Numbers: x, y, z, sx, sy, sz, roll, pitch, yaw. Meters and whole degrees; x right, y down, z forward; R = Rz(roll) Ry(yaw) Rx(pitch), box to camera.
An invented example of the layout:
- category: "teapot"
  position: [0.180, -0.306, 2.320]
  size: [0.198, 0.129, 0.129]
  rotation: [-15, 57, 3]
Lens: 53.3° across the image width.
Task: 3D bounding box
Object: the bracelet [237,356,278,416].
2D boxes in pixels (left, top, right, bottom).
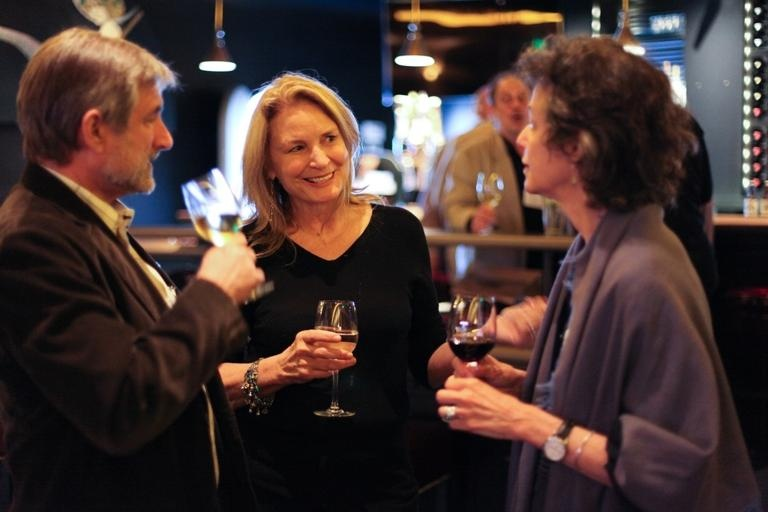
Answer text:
- category: "bracelet"
  position: [-0.502, 0.527, 3.115]
  size: [0.140, 0.092, 0.183]
  rotation: [-13, 23, -15]

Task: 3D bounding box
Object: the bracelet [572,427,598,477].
- category: "bracelet"
  position: [0.664, 0.644, 2.536]
  size: [0.063, 0.120, 0.032]
  rotation: [-9, 13, -39]

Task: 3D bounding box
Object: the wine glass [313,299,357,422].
- category: "wine glass"
  position: [-0.191, 0.409, 2.999]
  size: [0.181, 0.502, 0.295]
  rotation: [-1, 10, -3]
